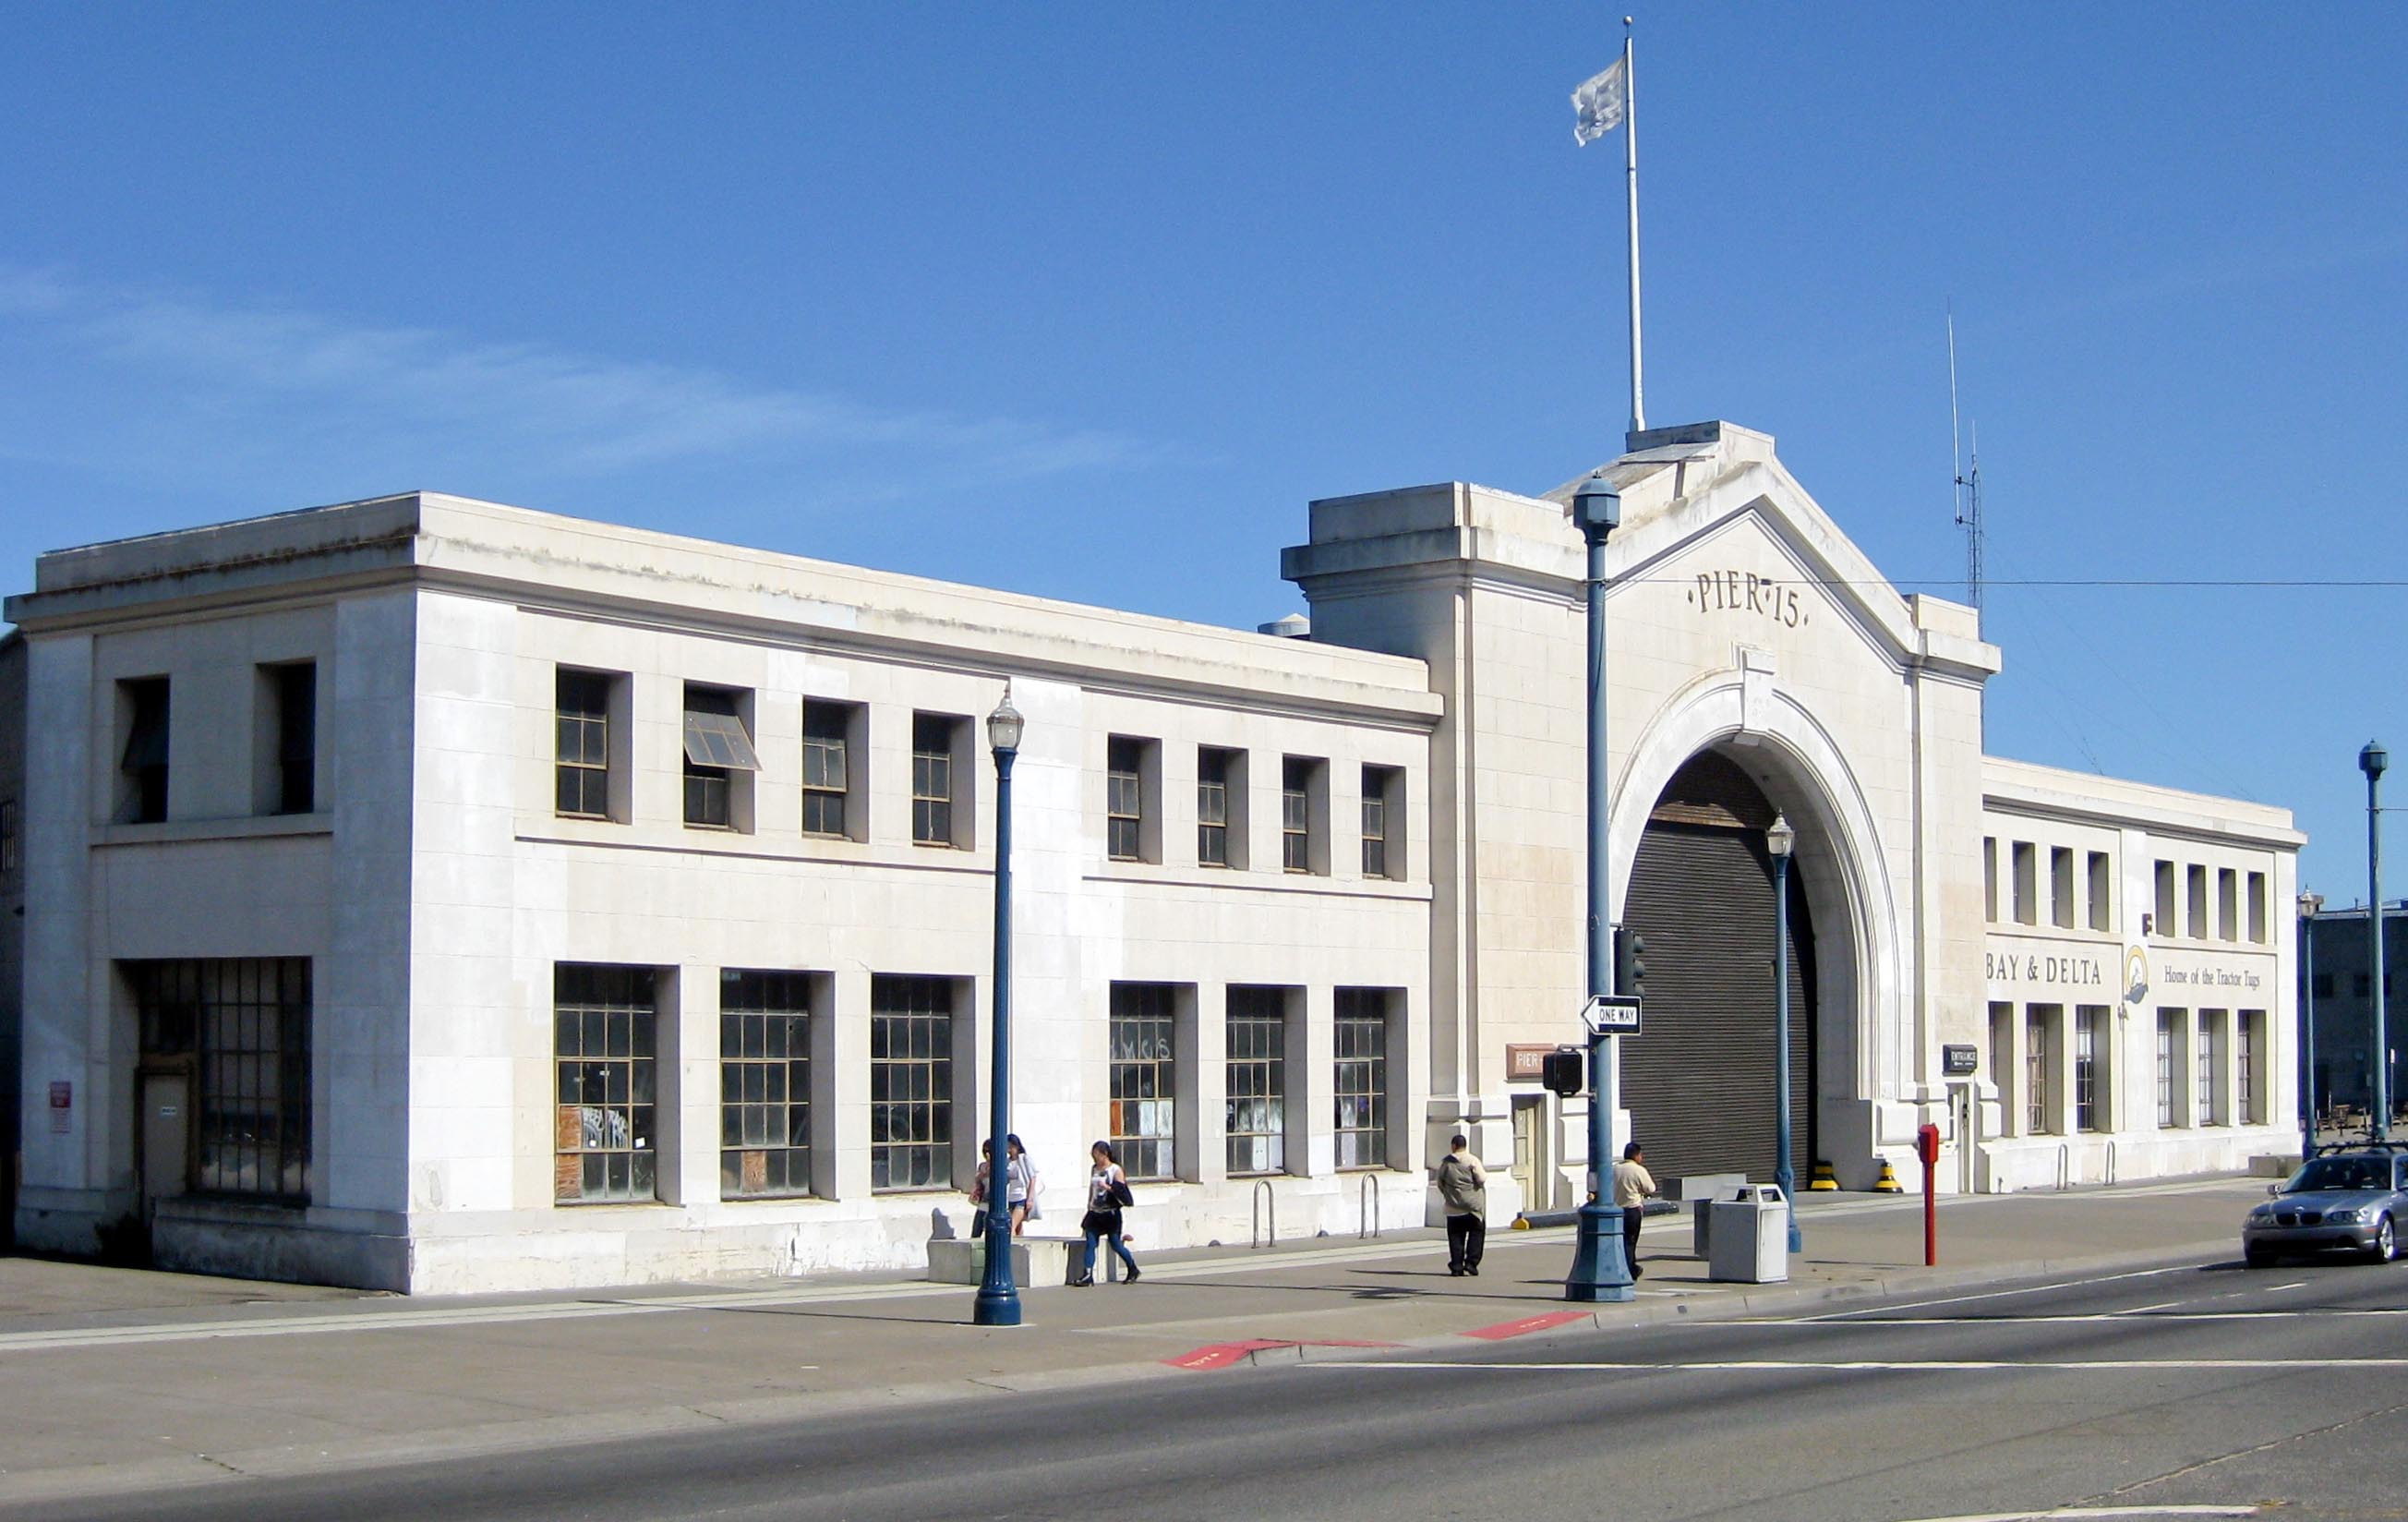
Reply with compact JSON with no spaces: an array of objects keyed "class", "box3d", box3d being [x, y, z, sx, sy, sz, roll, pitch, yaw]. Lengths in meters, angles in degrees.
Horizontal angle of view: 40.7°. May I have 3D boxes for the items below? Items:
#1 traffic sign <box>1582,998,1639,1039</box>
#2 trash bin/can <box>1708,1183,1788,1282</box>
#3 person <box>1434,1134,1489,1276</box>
[{"class":"traffic sign","box3d":[6.390,4.063,51.431,1.010,0.608,0.168,1,0,-28]},{"class":"trash bin/can","box3d":[8.884,7.793,53.352,1.191,1.604,1.159,-1,-13,5]},{"class":"person","box3d":[4.305,7.537,54.904,0.679,2.396,1.445,-1,-13,2]}]
